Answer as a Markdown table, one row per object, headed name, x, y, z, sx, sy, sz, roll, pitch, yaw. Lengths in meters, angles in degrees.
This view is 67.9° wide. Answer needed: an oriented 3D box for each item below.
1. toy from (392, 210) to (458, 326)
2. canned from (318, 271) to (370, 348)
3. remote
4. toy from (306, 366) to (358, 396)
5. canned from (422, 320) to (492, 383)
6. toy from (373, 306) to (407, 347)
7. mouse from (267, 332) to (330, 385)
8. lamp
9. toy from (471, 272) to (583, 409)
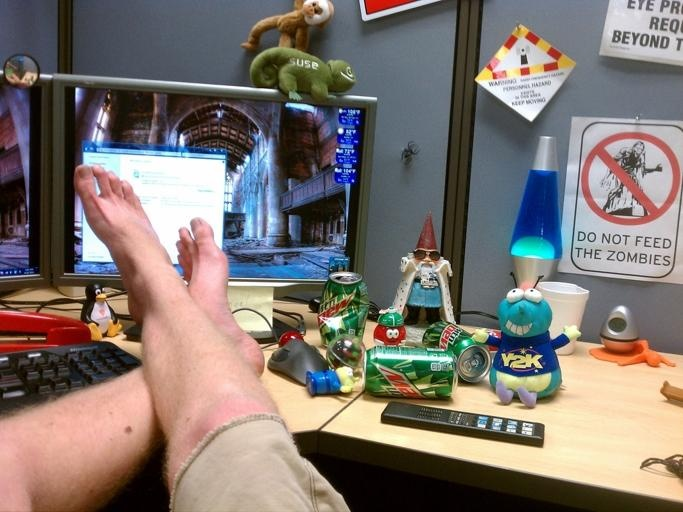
| name | x | y | z | sx | sy | sz | roll | pitch | yaw |
| --- | --- | --- | --- | --- | --- | --- | --- | --- | --- |
| toy | 0.176 | 0.022 | 1.056 | 0.119 | 0.218 | 0.191 | 4 | 12 | 9 |
| canned | 0.003 | 0.098 | 0.965 | 0.119 | 0.187 | 0.115 | 2 | -4 | 5 |
| remote | 0.149 | 0.219 | 0.712 | 0.254 | 0.020 | 0.076 | 4 | 11 | 21 |
| toy | -0.016 | 0.194 | 0.783 | 0.050 | 0.029 | 0.048 | -3 | -14 | -7 |
| canned | 0.189 | 0.159 | 0.834 | 0.052 | 0.055 | 0.135 | -9 | 22 | -22 |
| toy | 0.085 | 0.127 | 0.920 | 0.057 | 0.062 | 0.061 | 1 | 0 | -4 |
| mouse | -0.076 | 0.163 | 0.861 | 0.089 | 0.047 | 0.130 | -10 | 15 | -32 |
| lamp | 0.421 | -0.087 | 1.068 | 0.103 | 0.320 | 0.064 | 0 | 12 | -9 |
| toy | 0.279 | 0.134 | 0.868 | 0.217 | 0.238 | 0.148 | -3 | -8 | 32 |
